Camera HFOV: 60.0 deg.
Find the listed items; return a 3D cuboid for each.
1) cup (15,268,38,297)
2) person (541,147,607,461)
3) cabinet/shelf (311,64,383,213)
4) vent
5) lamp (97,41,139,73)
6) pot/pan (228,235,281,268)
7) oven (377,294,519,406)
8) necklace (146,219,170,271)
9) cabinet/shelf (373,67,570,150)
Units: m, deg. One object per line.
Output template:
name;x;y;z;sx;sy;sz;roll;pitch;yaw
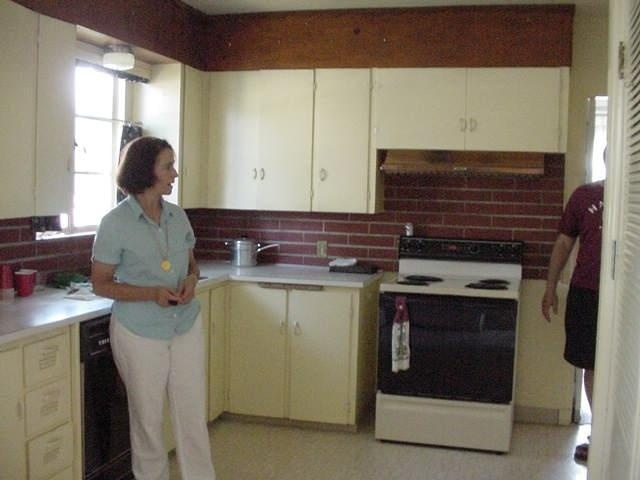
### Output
cup;-1.548;0.242;2.990;0.104;0.128;0.131;0;-3;5
person;1.549;0.195;3.373;0.263;1.118;0.516;5;15;12
cabinet/shelf;0.161;-0.699;3.910;0.406;0.976;0.278;2;15;0
vent;0.963;-0.533;3.808;1.077;0.182;0.136;5;15;10
lamp;-1.261;-1.144;3.464;0.162;0.115;0.167;1;7;2
pot/pan;-0.484;0.091;4.160;0.334;0.150;0.207;1;4;11
oven;0.834;0.618;3.711;1.054;0.956;0.592;0;-1;18
necklace;-0.764;0.038;2.649;0.080;0.238;0.081;-7;17;-28
cabinet/shelf;0.961;-0.886;3.739;1.211;0.547;0.244;3;15;5
